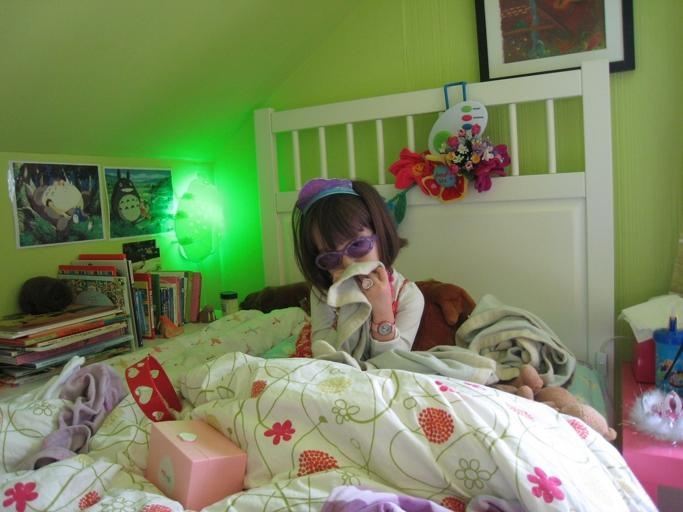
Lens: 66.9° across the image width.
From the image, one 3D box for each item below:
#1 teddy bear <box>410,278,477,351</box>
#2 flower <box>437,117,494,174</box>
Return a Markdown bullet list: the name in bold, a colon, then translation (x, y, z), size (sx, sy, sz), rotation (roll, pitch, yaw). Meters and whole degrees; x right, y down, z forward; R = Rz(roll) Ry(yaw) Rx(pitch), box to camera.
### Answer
- **teddy bear**: translation (0.330, 0.193, 1.741), size (0.110, 0.146, 0.198), rotation (5, 27, -32)
- **flower**: translation (0.448, -0.405, 1.855), size (0.177, 0.191, 0.085), rotation (-5, -4, 16)
